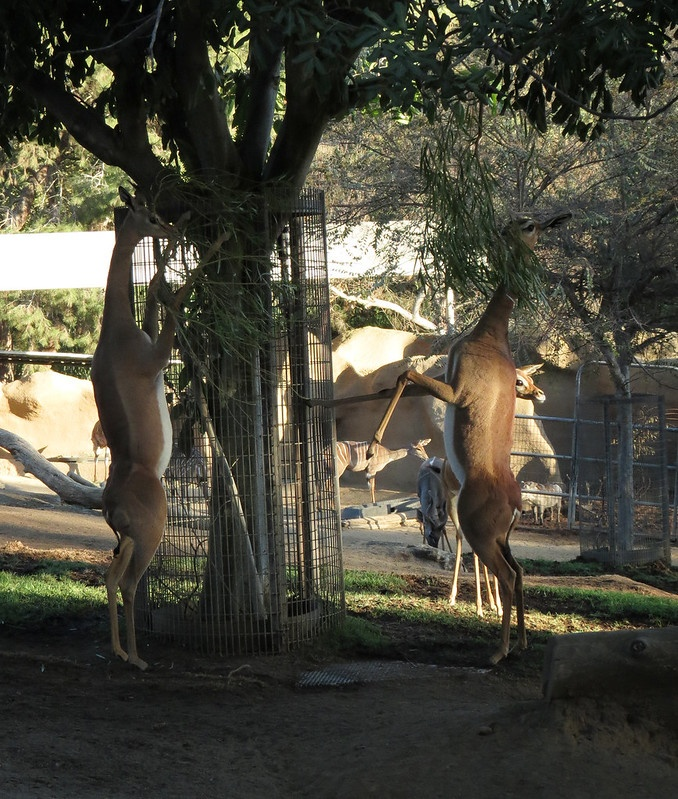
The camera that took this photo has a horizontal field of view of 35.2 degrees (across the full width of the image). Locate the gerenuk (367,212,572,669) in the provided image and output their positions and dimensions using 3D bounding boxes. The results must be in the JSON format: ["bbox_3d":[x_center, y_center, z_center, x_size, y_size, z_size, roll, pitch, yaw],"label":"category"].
[{"bbox_3d":[0.704,0.389,5.888,0.814,2.073,0.540,1,-1,-8],"label":"gerenuk"}]

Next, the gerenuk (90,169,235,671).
[{"bbox_3d":[-1.066,0.177,5.658,0.501,2.589,0.392,1,-1,24],"label":"gerenuk"}]
